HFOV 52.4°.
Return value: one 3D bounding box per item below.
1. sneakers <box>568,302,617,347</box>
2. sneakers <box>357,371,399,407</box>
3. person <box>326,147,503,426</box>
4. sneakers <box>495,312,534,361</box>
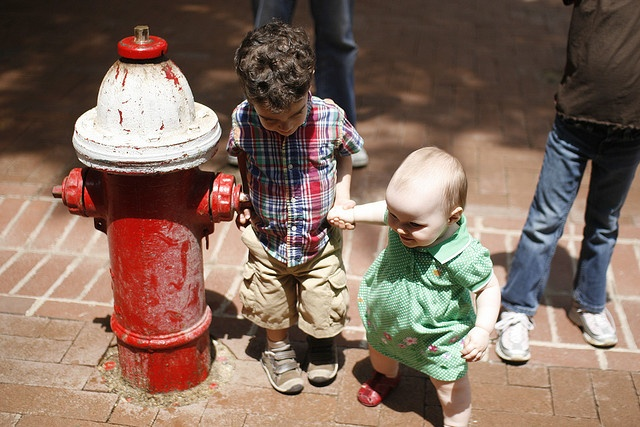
[{"bbox_3d":[1.819,0.758,4.374,0.166,0.158,0.325,-20,48,-21],"label":"sneakers"},{"bbox_3d":[0.366,1.055,4.019,0.271,0.105,0.134,-33,53,-29],"label":"sneakers"},{"bbox_3d":[0.563,0.469,3.636,0.806,1.511,0.821,0,40,-4],"label":"person"},{"bbox_3d":[1.268,0.801,4.264,0.175,0.164,0.370,2,20,7],"label":"sneakers"}]
